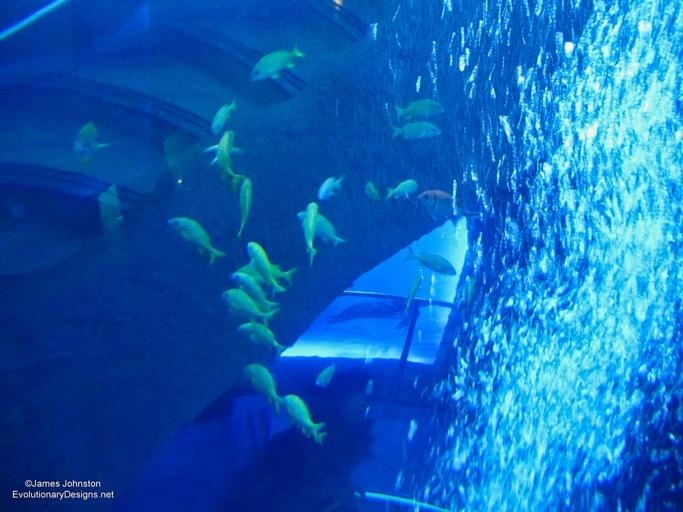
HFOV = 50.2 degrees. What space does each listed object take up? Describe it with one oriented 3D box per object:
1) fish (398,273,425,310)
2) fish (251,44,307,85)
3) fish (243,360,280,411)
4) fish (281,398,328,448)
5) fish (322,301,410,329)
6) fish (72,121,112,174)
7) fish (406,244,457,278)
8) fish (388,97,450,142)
[{"bbox_3d":[0.746,0.369,7.428,0.170,0.400,0.340,5,-5,3],"label":"fish"},{"bbox_3d":[-0.655,-1.977,7.625,0.560,0.140,0.261,-37,-34,1],"label":"fish"},{"bbox_3d":[-0.766,1.264,7.050,0.396,0.403,0.211,6,-5,4],"label":"fish"},{"bbox_3d":[-0.347,1.578,6.986,0.497,0.458,0.338,7,-5,-13],"label":"fish"},{"bbox_3d":[0.292,0.627,7.551,0.558,0.174,0.203,1,-44,9],"label":"fish"},{"bbox_3d":[-2.475,-1.091,7.251,0.145,0.487,0.335,0,-7,45],"label":"fish"},{"bbox_3d":[0.950,0.074,7.530,0.376,0.174,0.097,26,30,7],"label":"fish"},{"bbox_3d":[0.830,-1.469,7.955,0.681,0.405,0.180,-19,8,21],"label":"fish"}]
